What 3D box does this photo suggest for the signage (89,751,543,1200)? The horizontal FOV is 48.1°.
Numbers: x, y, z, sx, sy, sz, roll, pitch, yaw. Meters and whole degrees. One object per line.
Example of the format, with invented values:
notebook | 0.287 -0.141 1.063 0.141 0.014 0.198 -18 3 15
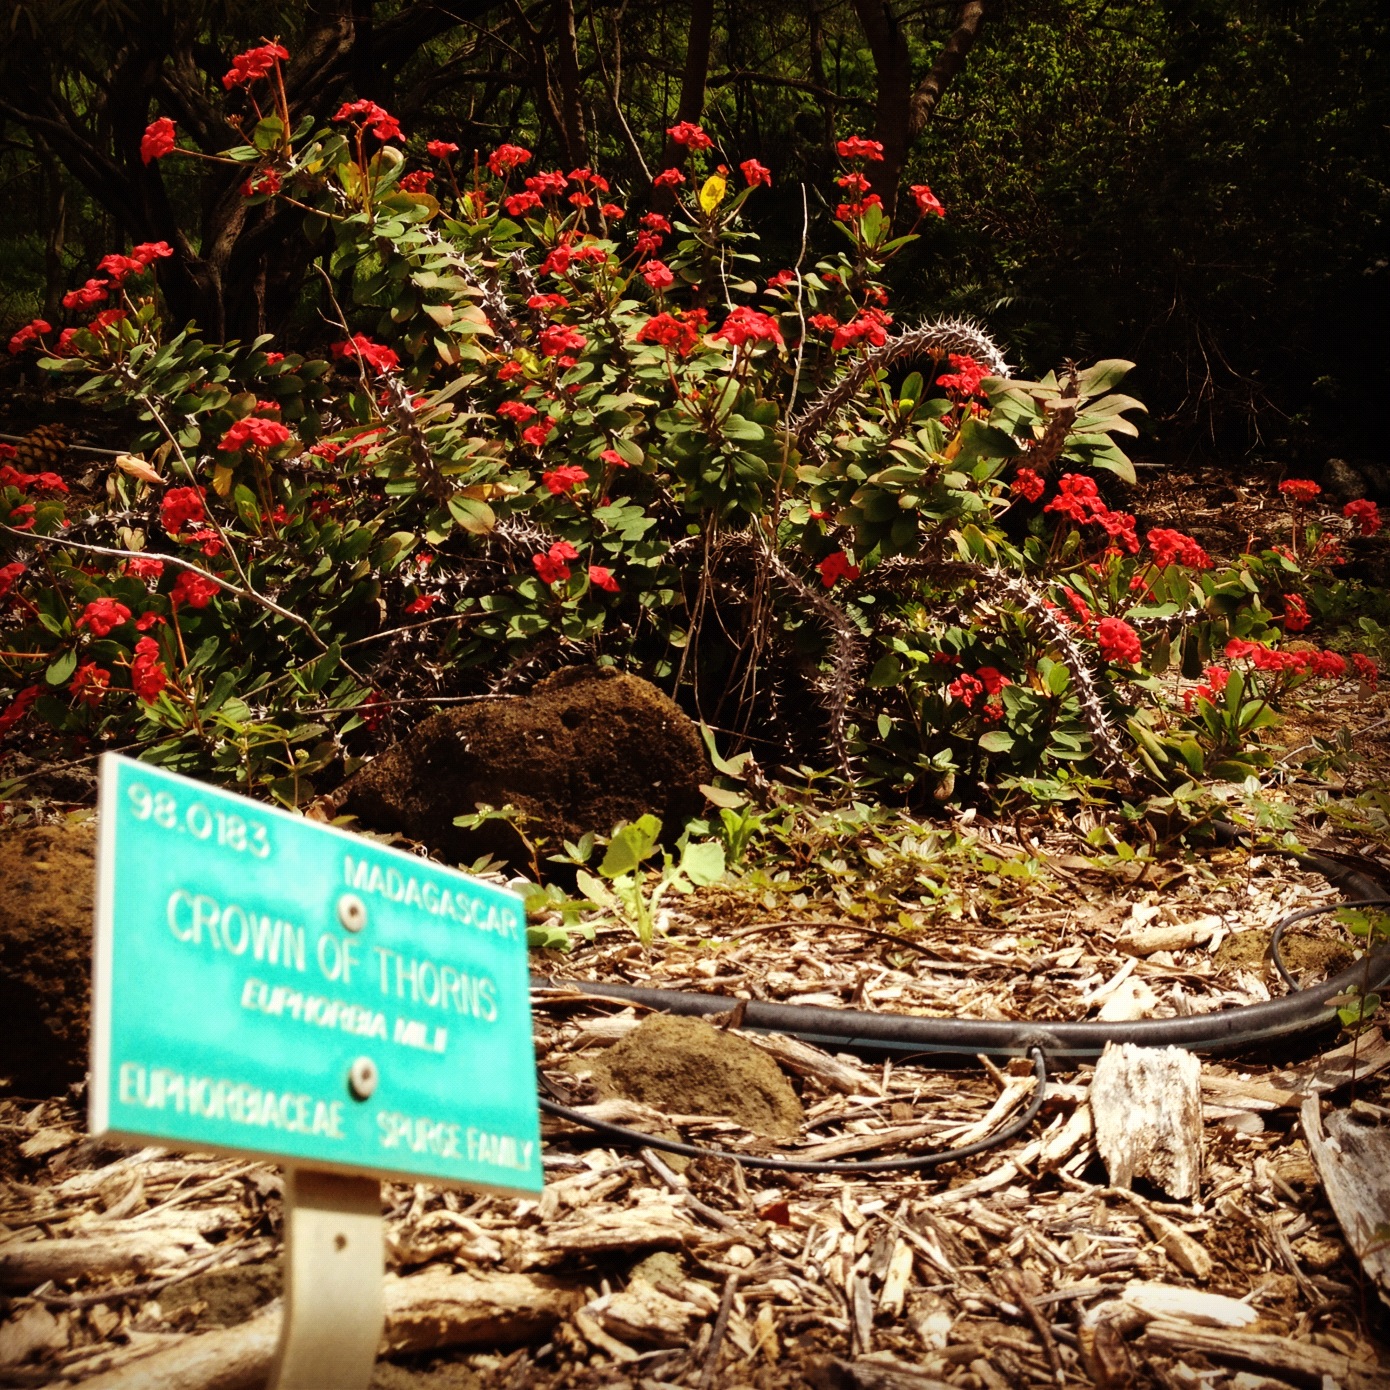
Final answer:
signage | -0.440 0.387 1.998 0.068 0.446 0.836 -22 -29 21
